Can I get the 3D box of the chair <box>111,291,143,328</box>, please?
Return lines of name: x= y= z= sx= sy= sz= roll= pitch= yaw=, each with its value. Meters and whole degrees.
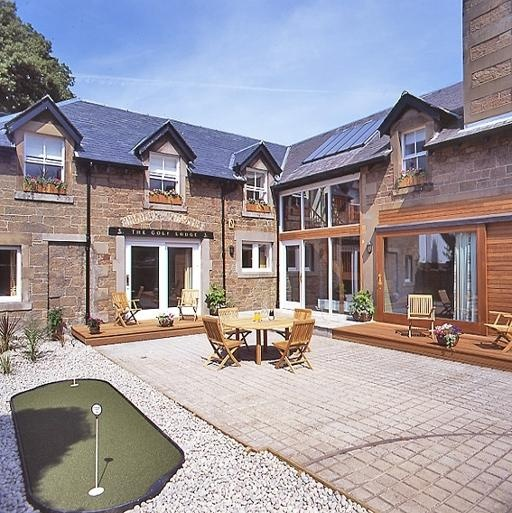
chair: x=-3.552 y=1.446 z=12.639 sx=0.650 sy=0.773 sz=0.682 roll=1 pitch=4 yaw=-18

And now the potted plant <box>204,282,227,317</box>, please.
potted plant: x=-1.288 y=1.398 z=14.825 sx=0.842 sy=1.208 sz=0.905 roll=0 pitch=1 yaw=-17

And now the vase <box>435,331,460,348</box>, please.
vase: x=4.035 y=1.758 z=9.846 sx=0.350 sy=0.233 sz=0.359 roll=3 pitch=-8 yaw=-19

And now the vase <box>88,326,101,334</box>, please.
vase: x=-4.007 y=1.833 z=11.555 sx=0.276 sy=0.198 sz=0.393 roll=-2 pitch=5 yaw=-20

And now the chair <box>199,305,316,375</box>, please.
chair: x=0.169 y=1.638 z=9.219 sx=2.100 sy=0.928 sz=1.094 roll=3 pitch=-4 yaw=-24

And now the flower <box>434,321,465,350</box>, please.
flower: x=4.051 y=1.676 z=9.935 sx=0.454 sy=0.374 sz=0.520 roll=-1 pitch=-3 yaw=2

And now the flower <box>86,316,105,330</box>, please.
flower: x=-4.025 y=1.636 z=11.607 sx=0.397 sy=0.250 sz=0.413 roll=3 pitch=-3 yaw=1

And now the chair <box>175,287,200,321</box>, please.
chair: x=-2.044 y=1.462 z=14.011 sx=0.730 sy=0.909 sz=0.867 roll=2 pitch=-3 yaw=-22

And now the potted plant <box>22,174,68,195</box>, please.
potted plant: x=-5.547 y=-1.846 z=12.229 sx=1.055 sy=0.463 sz=0.280 roll=-3 pitch=6 yaw=-29

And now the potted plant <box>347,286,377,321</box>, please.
potted plant: x=3.023 y=1.403 z=13.245 sx=0.802 sy=0.947 sz=0.769 roll=1 pitch=-4 yaw=-9
